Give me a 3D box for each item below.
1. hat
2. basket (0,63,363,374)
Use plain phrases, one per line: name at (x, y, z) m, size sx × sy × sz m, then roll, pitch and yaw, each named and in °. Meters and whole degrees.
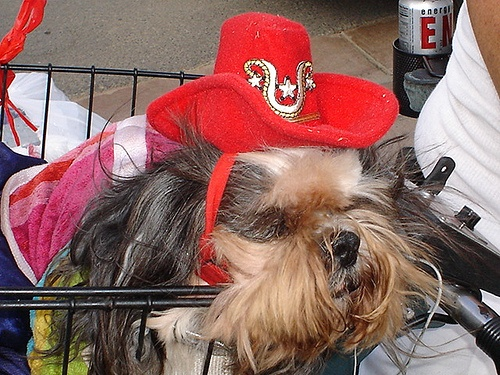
hat at (0.121, -0.287, 2.268) m, size 0.593 × 0.254 × 0.505 m, roll 1°, pitch 12°, yaw 6°
basket at (-0.275, 0.046, 2.998) m, size 1.404 × 0.500 × 0.945 m, roll 1°, pitch 47°, yaw -13°
